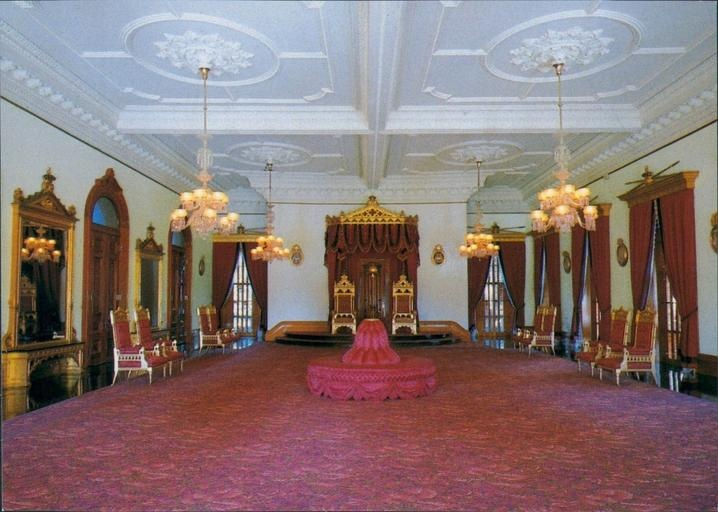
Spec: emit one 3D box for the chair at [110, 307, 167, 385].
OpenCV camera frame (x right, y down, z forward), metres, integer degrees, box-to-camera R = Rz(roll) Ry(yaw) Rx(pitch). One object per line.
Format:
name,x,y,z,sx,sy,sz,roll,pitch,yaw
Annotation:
chair,-4.187,1.653,9.729,1.130,1.370,1.175,-5,-3,35

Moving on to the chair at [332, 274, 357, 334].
chair,-0.446,1.385,14.649,0.682,1.597,0.682,-1,4,-3

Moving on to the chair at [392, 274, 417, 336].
chair,1.315,1.375,14.690,0.687,1.573,0.621,0,4,3

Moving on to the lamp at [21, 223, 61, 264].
lamp,-5.662,-0.167,9.137,0.438,0.624,0.460,0,-2,30

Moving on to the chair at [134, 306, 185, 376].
chair,-4.210,1.758,10.297,0.745,1.147,0.810,20,3,-7
